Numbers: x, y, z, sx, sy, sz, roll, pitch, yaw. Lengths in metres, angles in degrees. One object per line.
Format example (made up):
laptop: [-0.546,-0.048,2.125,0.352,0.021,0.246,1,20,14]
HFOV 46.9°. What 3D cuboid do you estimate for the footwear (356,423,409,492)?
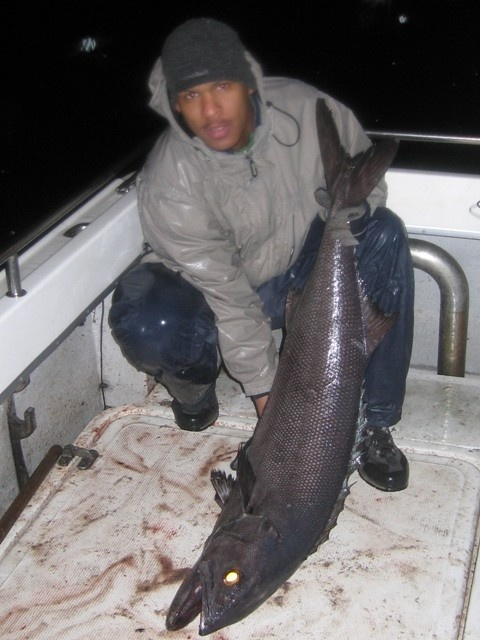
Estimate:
footwear: [0.399,0.402,1.628,0.123,0.093,0.220,-3,13,-7]
